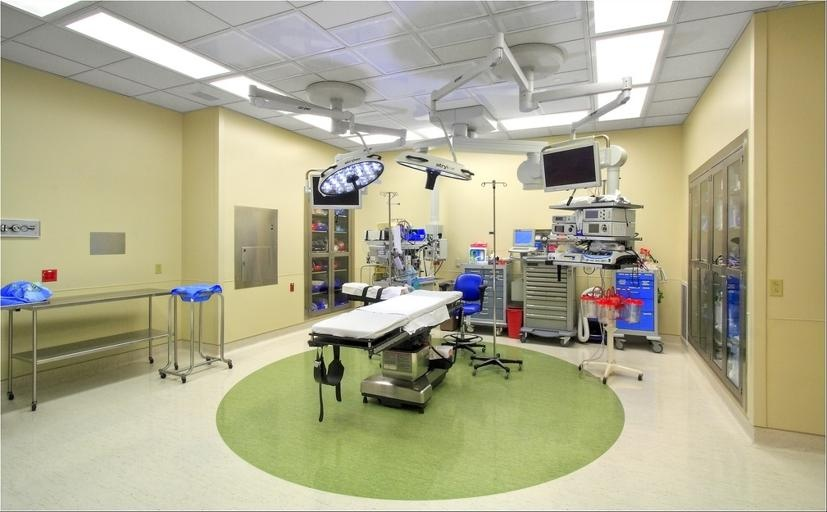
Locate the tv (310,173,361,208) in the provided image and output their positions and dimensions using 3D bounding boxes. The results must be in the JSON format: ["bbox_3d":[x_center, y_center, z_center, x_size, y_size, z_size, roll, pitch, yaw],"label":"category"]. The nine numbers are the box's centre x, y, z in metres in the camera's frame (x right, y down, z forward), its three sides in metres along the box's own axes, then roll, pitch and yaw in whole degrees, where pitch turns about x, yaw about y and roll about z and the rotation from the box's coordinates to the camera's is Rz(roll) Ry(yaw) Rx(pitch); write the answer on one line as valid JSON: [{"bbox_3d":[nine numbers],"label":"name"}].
[{"bbox_3d":[-0.904,-0.754,5.996,0.522,0.312,0.020,-1,-6,3],"label":"tv"}]

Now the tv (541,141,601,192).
[{"bbox_3d":[1.799,-1.038,5.904,0.664,0.469,0.076,-3,9,40],"label":"tv"}]

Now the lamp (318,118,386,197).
[{"bbox_3d":[-0.693,-0.947,5.480,0.557,0.509,0.452,-1,1,-41],"label":"lamp"}]

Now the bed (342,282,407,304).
[{"bbox_3d":[-0.542,0.436,6.222,0.575,0.145,0.366,3,1,21],"label":"bed"}]

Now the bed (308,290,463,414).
[{"bbox_3d":[-0.294,1.076,5.718,0.917,1.291,1.660,0,1,33],"label":"bed"}]

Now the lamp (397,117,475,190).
[{"bbox_3d":[0.261,-1.145,6.225,1.144,0.804,0.704,5,3,-23],"label":"lamp"}]
